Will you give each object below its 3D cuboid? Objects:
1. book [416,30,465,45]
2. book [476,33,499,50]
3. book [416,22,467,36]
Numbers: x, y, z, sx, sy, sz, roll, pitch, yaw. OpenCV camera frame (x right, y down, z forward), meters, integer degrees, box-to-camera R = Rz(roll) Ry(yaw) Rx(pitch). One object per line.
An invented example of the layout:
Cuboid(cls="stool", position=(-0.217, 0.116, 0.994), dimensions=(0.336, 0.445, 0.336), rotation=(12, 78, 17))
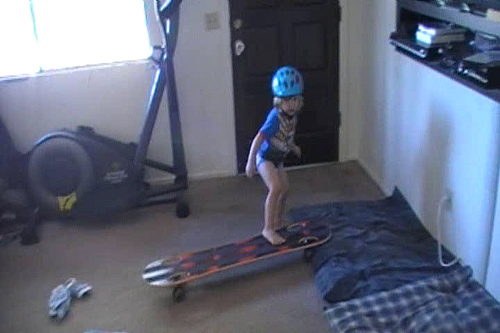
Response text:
Cuboid(cls="book", position=(1.753, -1.200, 3.742), dimensions=(0.450, 0.099, 0.264), rotation=(15, 30, 35))
Cuboid(cls="book", position=(1.948, -1.032, 3.293), dimensions=(0.162, 0.057, 0.154), rotation=(8, 65, 38))
Cuboid(cls="book", position=(1.787, -1.277, 3.715), dimensions=(0.219, 0.055, 0.227), rotation=(-5, 26, -10))
